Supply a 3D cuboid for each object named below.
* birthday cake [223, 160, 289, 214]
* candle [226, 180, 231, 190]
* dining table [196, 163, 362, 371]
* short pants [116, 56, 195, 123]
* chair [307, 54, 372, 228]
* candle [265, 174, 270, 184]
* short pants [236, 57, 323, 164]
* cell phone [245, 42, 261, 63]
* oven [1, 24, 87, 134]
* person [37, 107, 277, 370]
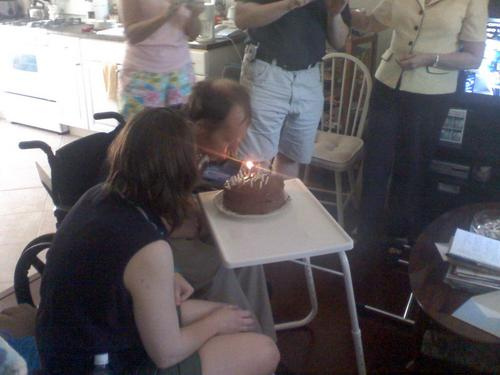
[{"bbox_3d":[0.015,0.007,1.559,0.282,0.121,0.215,14,26,24],"label":"birthday cake"},{"bbox_3d":[-0.078,-0.007,1.479,0.022,0.007,0.022,27,42,-16],"label":"candle"},{"bbox_3d":[0.097,0.265,1.771,0.606,0.768,0.799,-14,38,-12],"label":"dining table"},{"bbox_3d":[-0.361,-0.360,1.595,0.294,0.245,0.195,-3,23,-10],"label":"short pants"},{"bbox_3d":[0.504,-0.297,2.696,0.533,1.057,0.454,8,9,19],"label":"chair"},{"bbox_3d":[0.059,-0.026,1.465,0.005,0.005,0.045,30,35,-1],"label":"candle"},{"bbox_3d":[0.176,-0.424,2.203,0.414,0.540,0.269,0,22,-16],"label":"short pants"},{"bbox_3d":[0.012,-0.650,2.013,0.023,0.076,0.058,-4,55,-44],"label":"cell phone"},{"bbox_3d":[-1.801,-0.982,3.655,0.738,0.715,0.389,9,32,7],"label":"oven"},{"bbox_3d":[-0.280,0.199,1.194,0.669,0.796,0.304,-7,24,-19],"label":"person"}]
